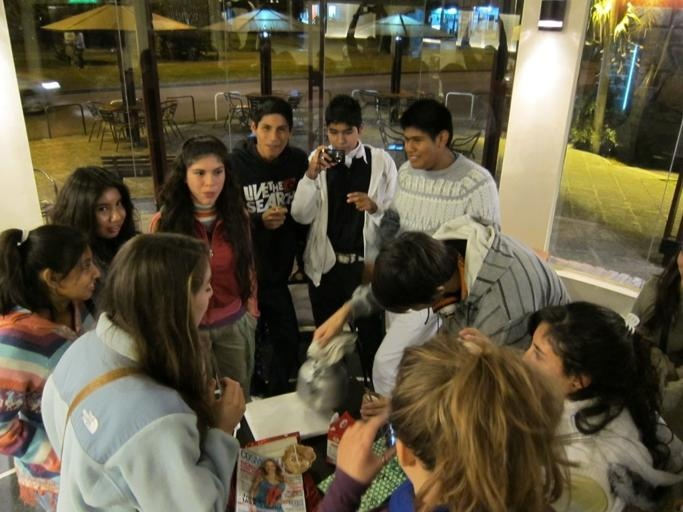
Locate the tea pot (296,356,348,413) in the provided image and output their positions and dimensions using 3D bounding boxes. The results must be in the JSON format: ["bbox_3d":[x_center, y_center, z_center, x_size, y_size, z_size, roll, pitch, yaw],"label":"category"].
[{"bbox_3d":[-0.081,0.534,2.233,0.211,0.267,0.212,1,17,0],"label":"tea pot"}]

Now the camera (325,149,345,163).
[{"bbox_3d":[-0.043,-0.635,3.162,0.110,0.076,0.079,-2,14,-17],"label":"camera"}]

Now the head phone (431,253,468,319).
[{"bbox_3d":[0.450,0.115,2.073,0.093,0.218,0.161,22,5,-33],"label":"head phone"}]
